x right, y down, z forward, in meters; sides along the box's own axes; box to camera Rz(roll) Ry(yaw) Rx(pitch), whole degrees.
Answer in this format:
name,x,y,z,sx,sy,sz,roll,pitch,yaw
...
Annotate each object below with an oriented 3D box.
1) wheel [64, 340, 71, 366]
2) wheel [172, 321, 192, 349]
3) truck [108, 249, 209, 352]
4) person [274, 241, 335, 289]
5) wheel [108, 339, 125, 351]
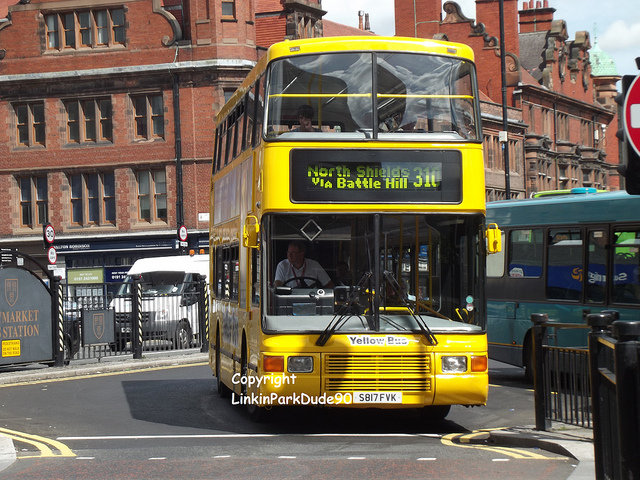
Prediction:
name,x,y,z,sx,sy,sz,roll,pitch,yaw
wheel,-5.599,2.486,25.091,0.114,0.570,0.465,-2,-1,-6
wheel,-3.365,2.350,27.948,0.189,0.692,0.586,-3,-1,26
truck,-3.743,1.496,29.599,2.540,2.448,4.697,-1,-1,16
person,-0.246,0.452,16.100,0.974,0.818,1.239,-3,5,-10
wheel,-4.694,2.463,26.440,0.152,0.256,0.578,-3,-1,21
